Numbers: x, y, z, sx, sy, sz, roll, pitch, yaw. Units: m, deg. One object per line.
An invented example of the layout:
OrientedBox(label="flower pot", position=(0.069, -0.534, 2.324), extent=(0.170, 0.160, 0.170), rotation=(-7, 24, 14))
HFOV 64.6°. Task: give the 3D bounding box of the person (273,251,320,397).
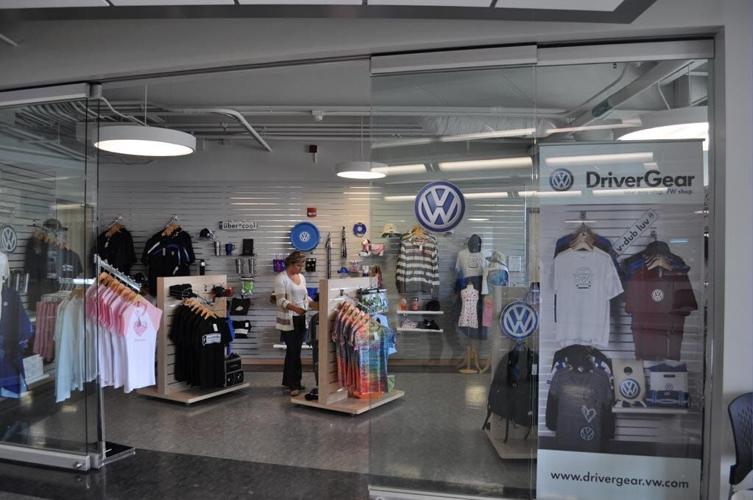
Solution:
OrientedBox(label="person", position=(-1.155, 1.070, 8.570), extent=(0.519, 2.123, 0.593), rotation=(-3, 7, -6))

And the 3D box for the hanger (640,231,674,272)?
OrientedBox(label="hanger", position=(2.548, 0.032, 5.392), extent=(0.254, 0.323, 0.137), rotation=(0, -6, 8))

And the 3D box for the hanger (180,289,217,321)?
OrientedBox(label="hanger", position=(-2.537, 0.754, 8.478), extent=(0.460, 0.414, 0.656), rotation=(-5, 7, -20))

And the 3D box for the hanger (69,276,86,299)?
OrientedBox(label="hanger", position=(-3.172, 0.401, 6.337), extent=(0.180, 0.227, 0.034), rotation=(-2, 7, 6))

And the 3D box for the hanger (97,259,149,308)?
OrientedBox(label="hanger", position=(-2.908, 0.372, 6.761), extent=(0.512, 0.521, 0.344), rotation=(2, 8, 33))

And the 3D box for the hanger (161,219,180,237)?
OrientedBox(label="hanger", position=(-3.645, -0.381, 10.627), extent=(0.208, 0.335, 0.100), rotation=(14, -28, 4))

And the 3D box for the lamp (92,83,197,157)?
OrientedBox(label="lamp", position=(-2.746, -1.343, 7.190), extent=(1.080, 1.019, 1.068), rotation=(2, -7, -10))

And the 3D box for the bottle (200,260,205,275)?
OrientedBox(label="bottle", position=(-3.106, 0.309, 10.645), extent=(0.112, 0.244, 0.141), rotation=(-4, 7, -15))

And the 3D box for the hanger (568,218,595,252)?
OrientedBox(label="hanger", position=(1.890, -0.133, 5.460), extent=(0.313, 0.280, 0.073), rotation=(1, 2, 4))

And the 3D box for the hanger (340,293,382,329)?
OrientedBox(label="hanger", position=(-0.207, 0.814, 7.783), extent=(0.478, 0.317, 0.198), rotation=(10, -19, 6))

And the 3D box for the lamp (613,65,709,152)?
OrientedBox(label="lamp", position=(2.626, -1.282, 5.421), extent=(0.714, 0.778, 0.164), rotation=(-1, 7, 8))

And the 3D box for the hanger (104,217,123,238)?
OrientedBox(label="hanger", position=(-4.687, -0.408, 10.653), extent=(0.330, 0.334, 0.258), rotation=(-4, 7, -13))

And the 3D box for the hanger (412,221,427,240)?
OrientedBox(label="hanger", position=(0.401, -0.168, 5.564), extent=(0.106, 0.133, 0.051), rotation=(-44, 3, -7))

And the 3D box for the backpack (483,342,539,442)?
OrientedBox(label="backpack", position=(1.240, 1.319, 5.493), extent=(0.490, 0.855, 0.140), rotation=(-1, 7, 9))

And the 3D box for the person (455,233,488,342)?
OrientedBox(label="person", position=(0.867, 0.377, 5.548), extent=(0.345, 1.050, 0.199), rotation=(3, 10, -3))
